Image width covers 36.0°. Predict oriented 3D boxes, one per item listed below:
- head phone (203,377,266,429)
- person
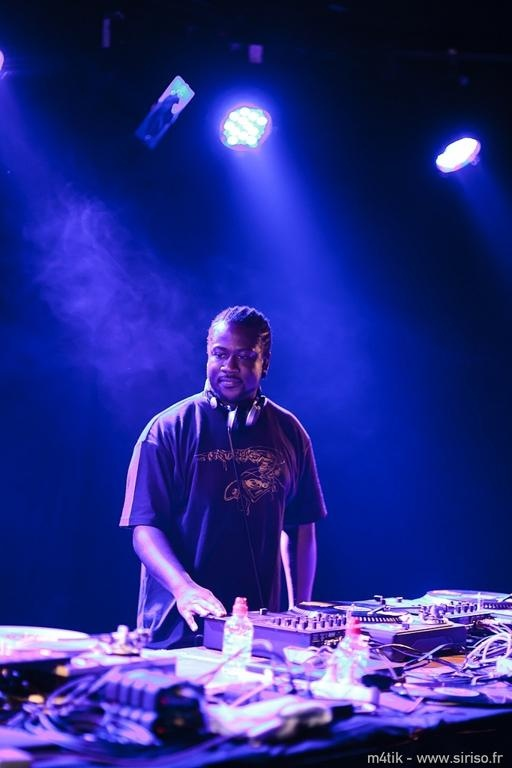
[{"bbox_3d":[-0.080,0.096,3.024,0.176,0.212,0.075,8,27,9],"label":"head phone"},{"bbox_3d":[-0.135,0.598,3.027,0.807,1.636,0.715,2,8,-14],"label":"person"}]
